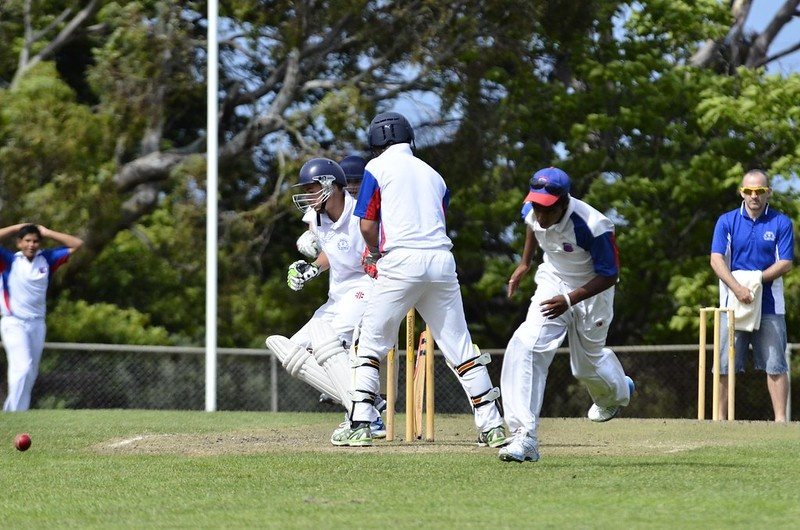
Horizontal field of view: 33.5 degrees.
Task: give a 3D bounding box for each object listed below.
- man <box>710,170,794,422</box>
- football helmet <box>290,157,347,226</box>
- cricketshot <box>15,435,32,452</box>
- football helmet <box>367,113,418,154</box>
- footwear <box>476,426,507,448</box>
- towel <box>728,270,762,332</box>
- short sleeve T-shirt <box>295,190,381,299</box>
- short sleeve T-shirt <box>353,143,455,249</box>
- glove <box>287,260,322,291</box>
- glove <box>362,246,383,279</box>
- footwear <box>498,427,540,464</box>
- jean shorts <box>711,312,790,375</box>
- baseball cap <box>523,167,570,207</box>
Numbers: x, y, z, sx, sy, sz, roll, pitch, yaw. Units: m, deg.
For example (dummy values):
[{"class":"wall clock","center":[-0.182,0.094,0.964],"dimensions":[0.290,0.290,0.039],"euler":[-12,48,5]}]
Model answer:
[{"class":"man","center":[4.250,0.386,15.970],"dimensions":[0.920,3.026,0.516],"euler":[-2,-5,13]},{"class":"football helmet","center":[-0.767,-0.843,14.974],"dimensions":[0.489,0.589,0.513],"euler":[5,-12,-19]},{"class":"cricketshot","center":[-3.993,1.900,14.090],"dimensions":[0.169,0.176,0.233],"euler":[1,-6,-18]},{"class":"football helmet","center":[-0.111,-1.342,14.474],"dimensions":[0.504,0.516,0.586],"euler":[-8,-9,-3]},{"class":"footwear","center":[0.972,1.842,14.124],"dimensions":[0.162,0.172,0.367],"euler":[-1,4,-24]},{"class":"towel","center":[4.088,0.437,15.780],"dimensions":[0.471,0.677,0.220],"euler":[6,7,30]},{"class":"short sleeve T-shirt","center":[-0.630,-0.016,15.165],"dimensions":[0.757,1.524,0.519],"euler":[18,37,22]},{"class":"short sleeve T-shirt","center":[0.083,-0.674,14.286],"dimensions":[1.170,1.286,0.668],"euler":[-5,-4,-34]},{"class":"glove","center":[-1.127,0.167,15.309],"dimensions":[0.364,0.168,0.310],"euler":[-22,25,39]},{"class":"glove","center":[-0.291,-0.006,14.330],"dimensions":[0.231,0.317,0.128],"euler":[5,22,30]},{"class":"footwear","center":[1.186,1.816,13.291],"dimensions":[0.376,0.295,0.161],"euler":[-1,-5,-1]},{"class":"jean shorts","center":[4.230,0.957,16.093],"dimensions":[0.965,0.874,0.356],"euler":[-2,-15,15]},{"class":"baseball cap","center":[1.467,-0.750,13.258],"dimensions":[0.314,0.244,0.450],"euler":[18,33,27]}]
